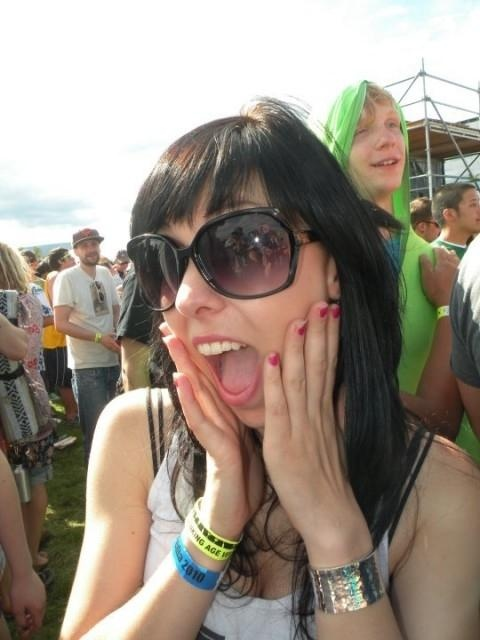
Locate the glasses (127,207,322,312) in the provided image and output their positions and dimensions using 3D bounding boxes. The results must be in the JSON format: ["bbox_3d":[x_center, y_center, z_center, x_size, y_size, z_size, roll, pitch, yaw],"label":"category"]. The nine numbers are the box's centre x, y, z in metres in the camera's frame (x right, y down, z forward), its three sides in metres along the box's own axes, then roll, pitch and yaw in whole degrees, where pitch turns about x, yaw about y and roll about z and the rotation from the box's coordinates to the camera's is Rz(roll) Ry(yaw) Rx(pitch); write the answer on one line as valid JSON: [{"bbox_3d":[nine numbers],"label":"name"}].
[{"bbox_3d":[-0.076,-0.132,1.244,0.495,0.244,0.178,6,14,40],"label":"glasses"}]
